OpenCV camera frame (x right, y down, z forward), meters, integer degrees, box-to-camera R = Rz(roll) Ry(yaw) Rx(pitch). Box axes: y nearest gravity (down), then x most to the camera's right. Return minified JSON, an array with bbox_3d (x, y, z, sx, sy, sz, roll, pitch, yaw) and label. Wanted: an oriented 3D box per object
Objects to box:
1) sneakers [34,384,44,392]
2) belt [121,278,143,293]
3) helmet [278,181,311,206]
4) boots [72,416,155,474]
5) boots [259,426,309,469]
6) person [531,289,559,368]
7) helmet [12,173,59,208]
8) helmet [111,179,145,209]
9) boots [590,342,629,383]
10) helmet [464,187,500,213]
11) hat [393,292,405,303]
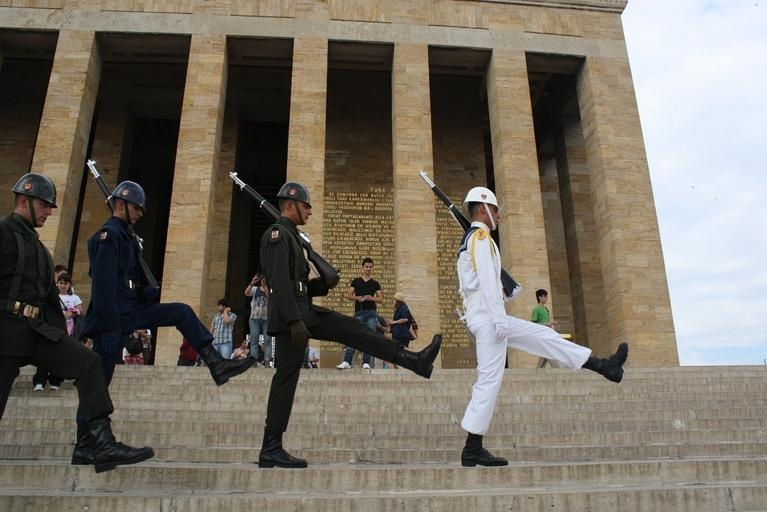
[{"bbox_3d":[-4.928,1.886,10.255,0.131,0.116,0.127,3,-9,-31],"label":"sneakers"},{"bbox_3d":[-3.083,0.363,8.835,0.181,0.107,0.177,8,-11,-10],"label":"belt"},{"bbox_3d":[-1.071,-0.756,8.585,0.360,0.179,0.250,3,1,-3],"label":"helmet"},{"bbox_3d":[-2.971,2.041,7.751,0.875,0.555,0.329,-2,-10,15],"label":"boots"},{"bbox_3d":[-1.029,2.228,8.157,0.694,0.533,0.282,1,-17,-4],"label":"boots"},{"bbox_3d":[3.137,1.439,14.004,0.584,1.492,0.471,-6,8,-38],"label":"person"},{"bbox_3d":[-3.823,-0.756,8.107,0.530,0.323,0.379,15,-5,-15],"label":"helmet"},{"bbox_3d":[-3.147,-0.772,8.953,0.372,0.370,0.412,8,-1,30],"label":"helmet"},{"bbox_3d":[2.934,1.368,9.259,0.746,0.481,0.244,17,-21,-18],"label":"boots"},{"bbox_3d":[1.214,-0.715,8.924,0.387,0.202,0.278,1,-2,3],"label":"helmet"},{"bbox_3d":[0.349,0.826,14.244,0.223,0.077,0.197,30,-12,-10],"label":"hat"}]
